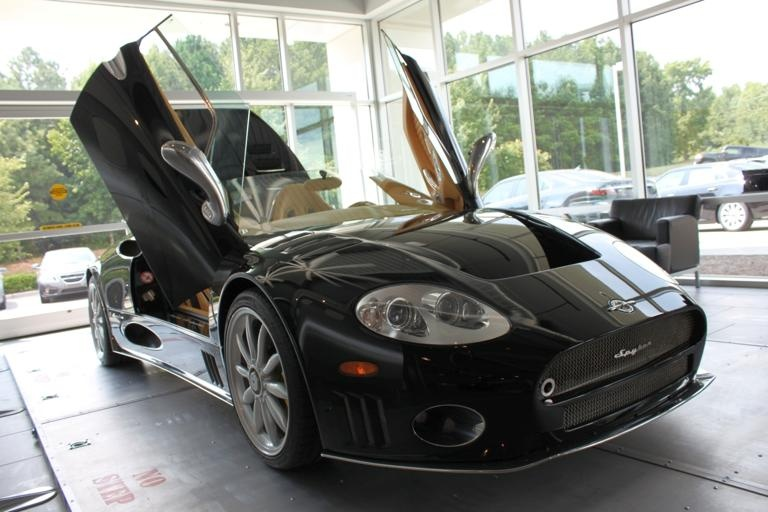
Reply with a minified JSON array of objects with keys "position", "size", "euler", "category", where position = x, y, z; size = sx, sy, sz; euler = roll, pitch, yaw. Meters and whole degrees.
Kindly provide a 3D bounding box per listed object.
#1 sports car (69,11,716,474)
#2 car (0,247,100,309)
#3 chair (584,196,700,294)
[{"position":[-0.547,-0.163,3.649],"size":[2.551,1.985,4.553],"euler":[-4,4,-41],"category":"sports car"},{"position":[-4.845,0.243,7.077],"size":[1.093,0.741,2.374],"euler":[-3,-1,-34],"category":"car"},{"position":[2.753,-0.271,5.489],"size":[1.267,1.192,1.344],"euler":[-4,4,-42],"category":"chair"}]
